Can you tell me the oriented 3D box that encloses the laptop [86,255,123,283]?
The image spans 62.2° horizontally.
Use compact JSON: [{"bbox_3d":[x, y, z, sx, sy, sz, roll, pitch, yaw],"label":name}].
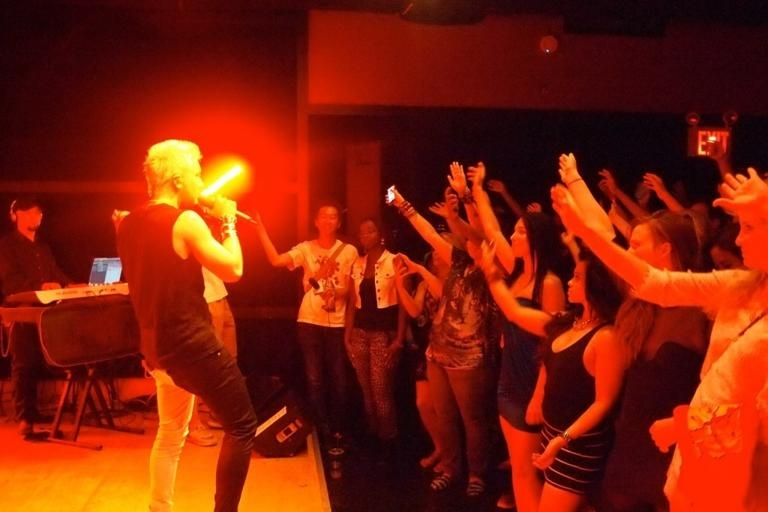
[{"bbox_3d":[-2.618,0.131,5.995,0.225,0.186,0.214,1,37,-16],"label":"laptop"}]
